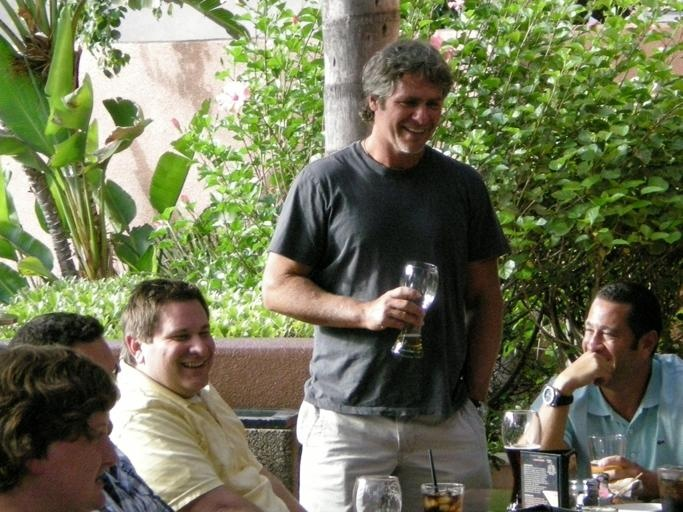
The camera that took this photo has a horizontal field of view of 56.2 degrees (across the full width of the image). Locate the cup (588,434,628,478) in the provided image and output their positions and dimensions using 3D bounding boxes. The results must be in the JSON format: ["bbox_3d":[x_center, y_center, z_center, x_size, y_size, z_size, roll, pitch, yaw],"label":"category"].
[{"bbox_3d":[1.034,0.780,2.513,0.114,0.145,0.248,-4,-4,39],"label":"cup"}]

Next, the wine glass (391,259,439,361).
[{"bbox_3d":[0.294,0.225,2.605,0.186,0.414,0.325,-2,-2,3],"label":"wine glass"}]

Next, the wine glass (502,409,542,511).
[{"bbox_3d":[0.645,0.739,2.272,0.133,0.365,0.233,-2,-2,16],"label":"wine glass"}]
